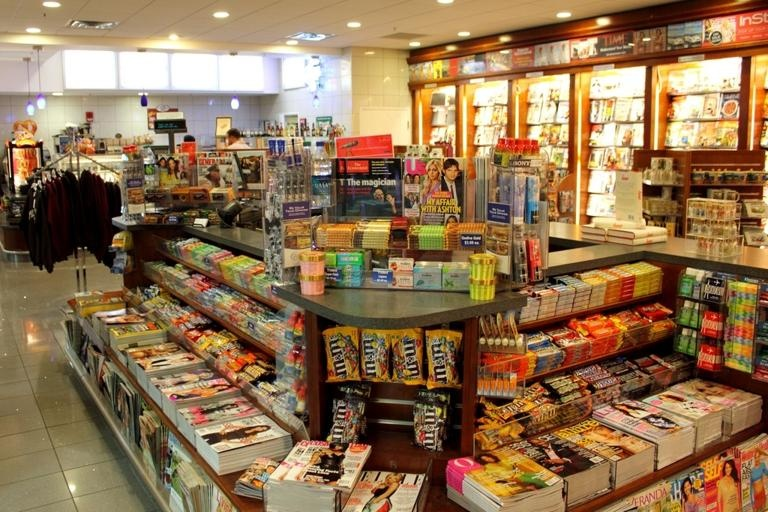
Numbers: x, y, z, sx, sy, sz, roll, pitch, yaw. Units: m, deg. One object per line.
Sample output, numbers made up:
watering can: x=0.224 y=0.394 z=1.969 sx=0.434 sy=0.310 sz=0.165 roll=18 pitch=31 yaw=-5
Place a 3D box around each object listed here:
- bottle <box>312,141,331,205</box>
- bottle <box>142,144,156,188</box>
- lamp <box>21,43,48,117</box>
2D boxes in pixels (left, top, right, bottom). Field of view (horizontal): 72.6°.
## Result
bottle: x=-0.421 y=-0.530 z=3.485 sx=0.136 sy=0.386 sz=0.233 roll=-2 pitch=16 yaw=-7
bottle: x=-2.600 y=-0.968 z=5.813 sx=0.146 sy=0.379 sz=0.353 roll=-6 pitch=17 yaw=-22
lamp: x=-8.408 y=-4.044 z=12.498 sx=0.502 sy=1.388 sz=3.283 roll=-10 pitch=18 yaw=-32
